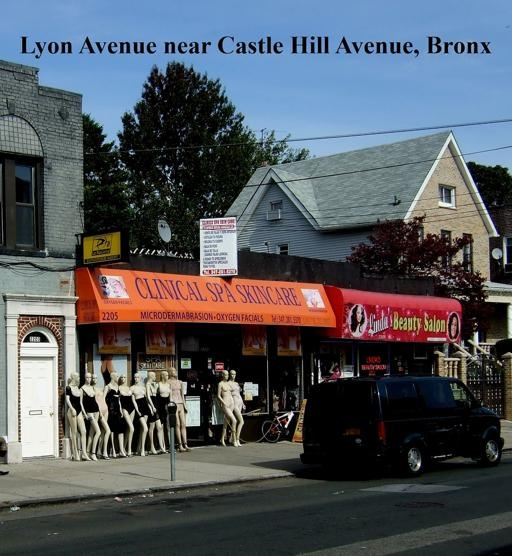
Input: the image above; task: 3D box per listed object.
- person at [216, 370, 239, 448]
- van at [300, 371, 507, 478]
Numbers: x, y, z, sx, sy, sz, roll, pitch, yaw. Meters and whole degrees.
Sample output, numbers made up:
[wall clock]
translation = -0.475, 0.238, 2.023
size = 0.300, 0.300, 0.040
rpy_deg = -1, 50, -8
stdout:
[person]
translation = -0.679, 3.150, 22.698
size = 0.441, 1.773, 0.951
rpy_deg = -2, -6, -2
[van]
translation = 2.826, 2.646, 17.546
size = 3.467, 1.451, 1.755
rpy_deg = -2, -2, -39
